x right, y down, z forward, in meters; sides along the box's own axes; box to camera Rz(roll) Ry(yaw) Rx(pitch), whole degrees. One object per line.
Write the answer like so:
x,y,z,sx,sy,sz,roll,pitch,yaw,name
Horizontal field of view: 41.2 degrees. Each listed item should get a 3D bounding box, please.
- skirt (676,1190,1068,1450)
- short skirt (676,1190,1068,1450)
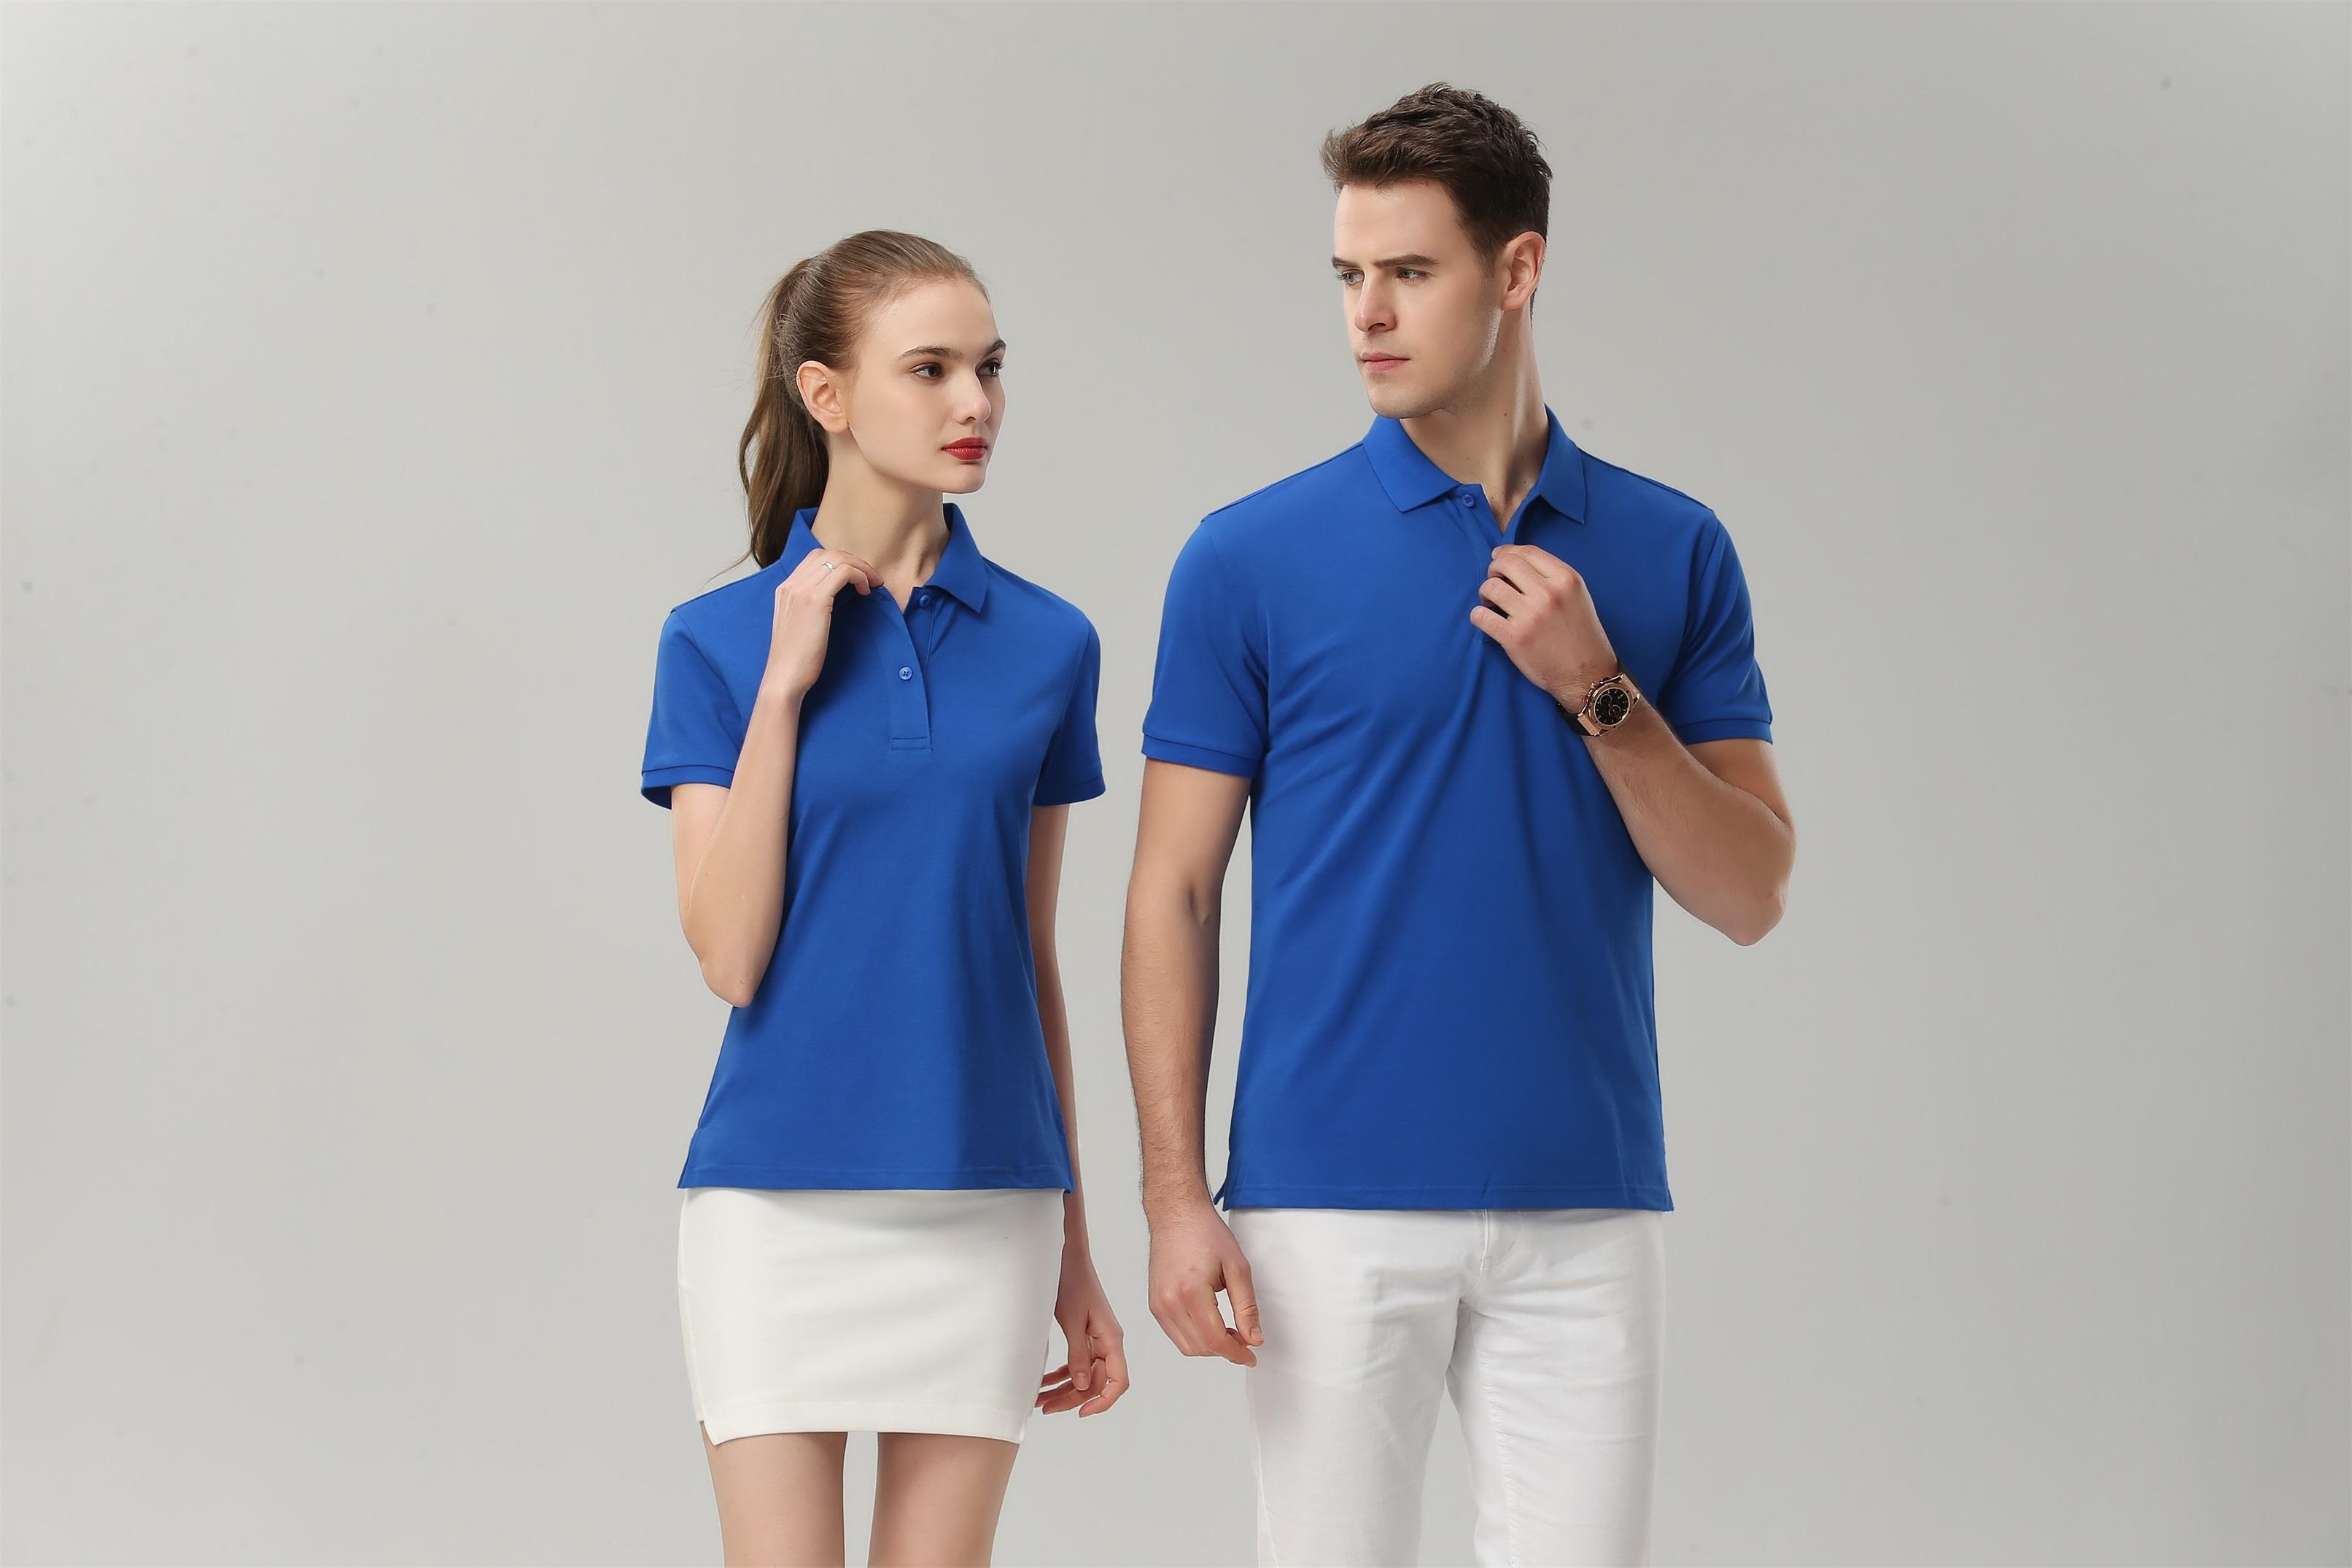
-0.462,0.775,4.687,0.608,0.404,0.350,0,-3,-4,skirt
-0.461,0.768,4.691,0.608,0.404,0.350,0,-3,-4,short skirt
